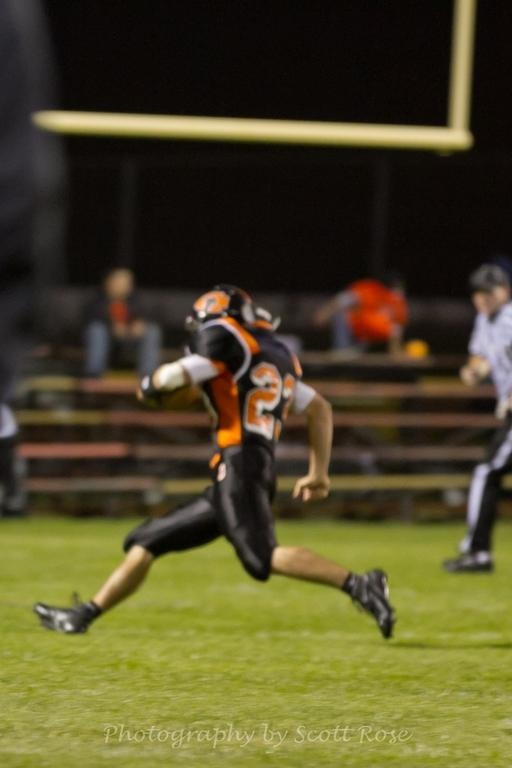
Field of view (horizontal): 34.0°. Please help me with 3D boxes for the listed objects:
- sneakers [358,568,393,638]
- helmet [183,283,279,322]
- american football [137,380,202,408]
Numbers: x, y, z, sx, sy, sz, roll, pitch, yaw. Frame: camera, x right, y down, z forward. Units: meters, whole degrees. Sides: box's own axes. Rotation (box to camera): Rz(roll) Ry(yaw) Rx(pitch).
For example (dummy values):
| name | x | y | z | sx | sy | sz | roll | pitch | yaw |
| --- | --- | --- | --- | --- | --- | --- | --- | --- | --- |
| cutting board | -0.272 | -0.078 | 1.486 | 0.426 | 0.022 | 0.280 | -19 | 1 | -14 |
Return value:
| name | x | y | z | sx | sy | sz | roll | pitch | yaw |
| --- | --- | --- | --- | --- | --- | --- | --- | --- | --- |
| sneakers | 0.375 | 0.685 | 2.556 | 0.094 | 0.258 | 0.219 | 2 | 15 | 9 |
| helmet | -0.074 | -0.273 | 2.887 | 0.232 | 0.099 | 0.153 | -2 | 3 | -12 |
| american football | -0.273 | 0.038 | 2.680 | 0.195 | 0.127 | 0.195 | -1 | 14 | -5 |
